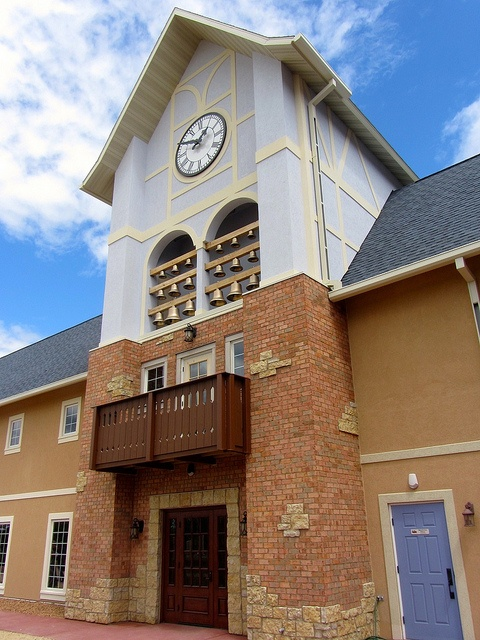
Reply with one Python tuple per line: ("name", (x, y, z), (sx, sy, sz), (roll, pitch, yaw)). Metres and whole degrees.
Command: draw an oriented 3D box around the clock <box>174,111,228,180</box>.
("clock", (-0.915, -4.201, 11.069), (0.133, 1.946, 1.689), (18, -25, -35))
